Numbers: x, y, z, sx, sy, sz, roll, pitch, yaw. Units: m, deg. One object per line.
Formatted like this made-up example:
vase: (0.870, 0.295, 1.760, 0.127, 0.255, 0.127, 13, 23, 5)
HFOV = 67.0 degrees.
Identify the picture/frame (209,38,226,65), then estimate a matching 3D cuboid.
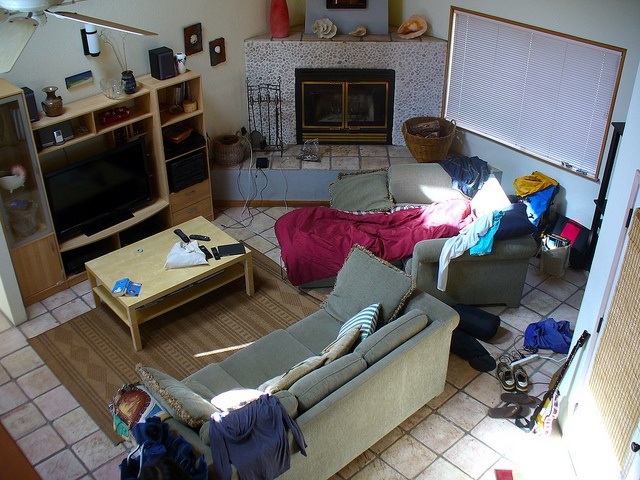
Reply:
picture/frame: (-1.389, -2.543, 6.458, 0.074, 0.317, 0.277, 31, 43, 33)

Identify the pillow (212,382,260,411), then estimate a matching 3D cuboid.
pillow: (-0.601, 1.133, 3.420, 0.212, 0.065, 0.247, -3, 12, 21)

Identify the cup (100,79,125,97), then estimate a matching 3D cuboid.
cup: (-2.342, -1.681, 5.462, 0.248, 0.147, 0.228, 5, 37, -4)

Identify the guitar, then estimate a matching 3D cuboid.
guitar: (1.936, 1.097, 3.975, 0.233, 1.081, 0.382, 10, 29, 18)

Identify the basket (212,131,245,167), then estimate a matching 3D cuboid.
basket: (-1.298, -1.275, 6.812, 0.457, 0.346, 0.487, 3, 28, 5)

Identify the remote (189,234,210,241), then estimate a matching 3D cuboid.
remote: (-1.362, -0.030, 5.445, 0.201, 0.049, 0.096, 6, 33, 7)

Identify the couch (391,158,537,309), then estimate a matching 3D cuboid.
couch: (1.688, 0.262, 5.809, 1.400, 1.143, 2.093, -5, 51, -3)

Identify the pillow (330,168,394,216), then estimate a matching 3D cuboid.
pillow: (0.511, -0.585, 6.053, 0.855, 0.353, 0.731, 6, 29, 11)

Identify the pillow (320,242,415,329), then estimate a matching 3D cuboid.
pillow: (0.413, 0.434, 4.297, 0.180, 0.657, 0.651, 17, 14, -43)

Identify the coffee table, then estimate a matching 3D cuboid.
coffee table: (-1.680, 0.277, 5.171, 1.750, 0.688, 1.160, -33, 55, -30)

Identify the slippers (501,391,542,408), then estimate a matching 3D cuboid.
slippers: (1.811, 1.430, 4.364, 0.297, 0.083, 0.142, 5, 42, 12)

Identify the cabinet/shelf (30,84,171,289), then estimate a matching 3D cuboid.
cabinet/shelf: (-2.509, -0.610, 5.382, 1.684, 1.904, 0.551, -31, 45, -34)

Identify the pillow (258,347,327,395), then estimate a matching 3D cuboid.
pillow: (-0.177, 1.036, 3.604, 0.547, 0.198, 0.274, -14, 31, -26)

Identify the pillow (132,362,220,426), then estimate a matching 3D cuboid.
pillow: (-0.988, 1.090, 3.428, 0.691, 0.240, 0.280, 23, 35, 36)

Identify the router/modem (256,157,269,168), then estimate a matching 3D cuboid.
router/modem: (-0.806, -1.073, 6.711, 0.178, 0.106, 0.213, -3, 28, -7)

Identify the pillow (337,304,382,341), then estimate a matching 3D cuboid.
pillow: (0.327, 0.613, 4.027, 0.095, 0.310, 0.301, 43, 46, -3)

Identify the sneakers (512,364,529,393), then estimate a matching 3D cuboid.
sneakers: (1.876, 1.296, 4.506, 0.095, 0.091, 0.254, -3, 37, 4)

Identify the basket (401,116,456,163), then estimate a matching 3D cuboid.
basket: (1.466, -1.357, 6.617, 0.700, 0.518, 0.606, 4, 28, 7)

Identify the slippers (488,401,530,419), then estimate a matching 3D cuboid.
slippers: (1.653, 1.494, 4.236, 0.307, 0.071, 0.149, -3, 40, 6)

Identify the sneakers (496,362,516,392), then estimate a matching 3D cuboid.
sneakers: (1.738, 1.283, 4.531, 0.114, 0.077, 0.218, -6, 42, 0)
